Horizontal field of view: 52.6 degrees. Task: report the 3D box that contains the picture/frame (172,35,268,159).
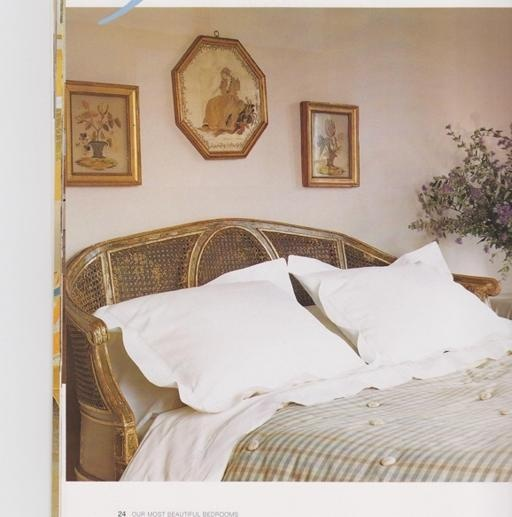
[{"bbox_3d":[-0.135,-0.543,1.738,0.415,0.419,0.043,-13,2,-35],"label":"picture/frame"}]
